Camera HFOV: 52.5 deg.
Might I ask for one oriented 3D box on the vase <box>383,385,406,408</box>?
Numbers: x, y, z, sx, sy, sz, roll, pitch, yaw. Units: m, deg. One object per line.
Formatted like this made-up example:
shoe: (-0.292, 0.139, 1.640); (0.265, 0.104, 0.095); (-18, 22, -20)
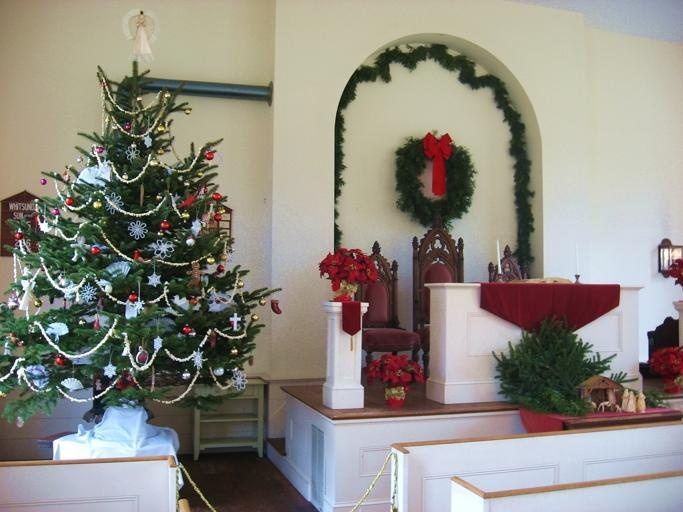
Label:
vase: (0.488, 1.294, 6.366); (0.188, 0.146, 0.188); (0, -5, 1)

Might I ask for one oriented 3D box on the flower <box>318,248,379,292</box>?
flower: (0.067, 0.108, 6.609); (0.447, 0.332, 0.448); (4, -1, -4)

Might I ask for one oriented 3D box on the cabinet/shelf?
cabinet/shelf: (-1.222, 1.770, 7.610); (0.816, 0.835, 0.455); (-1, -3, -12)

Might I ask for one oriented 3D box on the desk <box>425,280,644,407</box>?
desk: (1.920, 0.813, 6.825); (2.192, 1.133, 0.360); (-1, -3, -12)

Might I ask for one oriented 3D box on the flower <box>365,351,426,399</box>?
flower: (0.500, 1.120, 6.369); (0.513, 0.459, 0.261); (-2, -3, 6)

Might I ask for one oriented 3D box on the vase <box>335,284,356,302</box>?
vase: (0.035, 0.338, 6.426); (0.169, 0.126, 0.154); (1, -1, -13)
